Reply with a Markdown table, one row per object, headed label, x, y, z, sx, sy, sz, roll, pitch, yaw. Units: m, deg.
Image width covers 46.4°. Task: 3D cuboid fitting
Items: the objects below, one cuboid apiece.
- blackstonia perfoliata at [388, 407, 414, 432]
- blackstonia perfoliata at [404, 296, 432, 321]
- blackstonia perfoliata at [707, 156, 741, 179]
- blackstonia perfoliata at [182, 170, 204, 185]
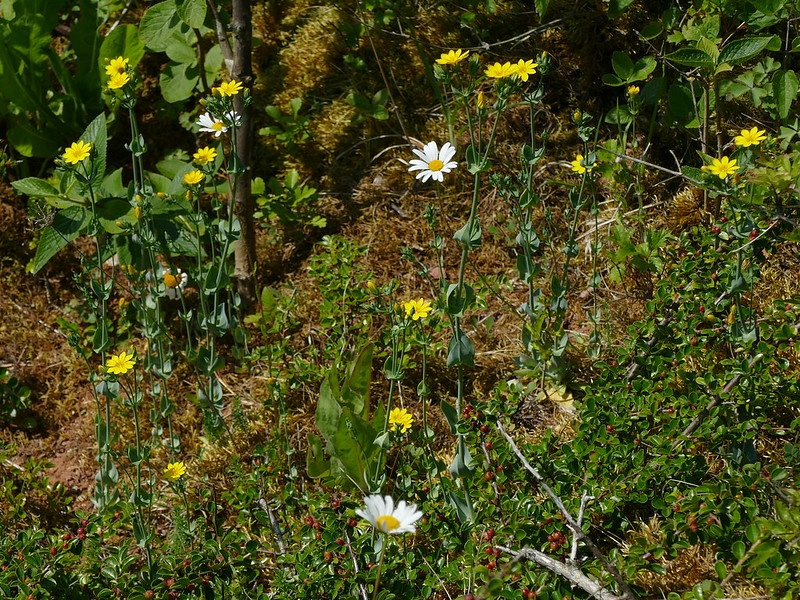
| label | x | y | z | sx | sy | sz | roll | pitch | yaw |
| --- | --- | --- | --- | --- | --- | --- | --- | --- | --- |
| blackstonia perfoliata | -0.003 | 0.515 | 4.020 | 0.083 | 0.110 | 0.042 | 4 | -17 | 3 |
| blackstonia perfoliata | 0.065 | 0.027 | 3.996 | 0.090 | 0.028 | 0.100 | 27 | 46 | 18 |
| blackstonia perfoliata | 1.377 | -0.543 | 4.004 | 0.110 | 0.029 | 0.110 | -42 | 58 | -12 |
| blackstonia perfoliata | -0.932 | -0.555 | 4.203 | 0.083 | 0.064 | 0.180 | -15 | 7 | -17 |
